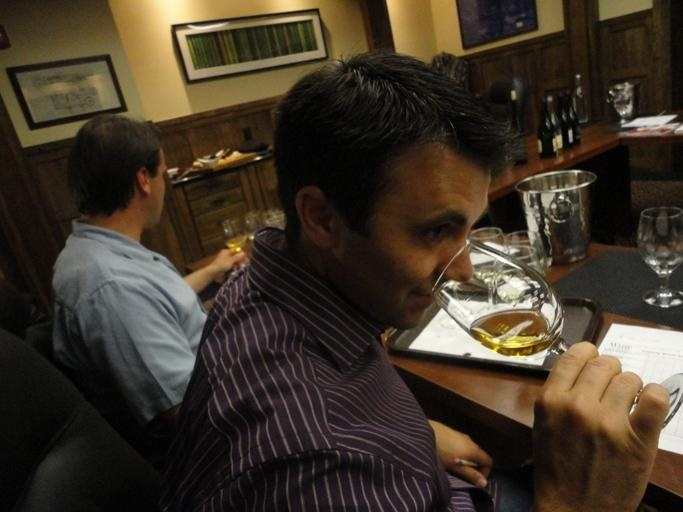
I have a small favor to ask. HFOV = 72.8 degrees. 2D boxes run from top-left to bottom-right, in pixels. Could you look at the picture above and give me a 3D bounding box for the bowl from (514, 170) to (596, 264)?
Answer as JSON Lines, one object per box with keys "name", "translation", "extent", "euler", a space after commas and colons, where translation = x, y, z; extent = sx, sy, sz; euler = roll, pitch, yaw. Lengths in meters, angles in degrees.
{"name": "bowl", "translation": [0.790, -0.130, 1.688], "extent": [0.260, 0.284, 0.272], "euler": [-11, 13, 3]}
